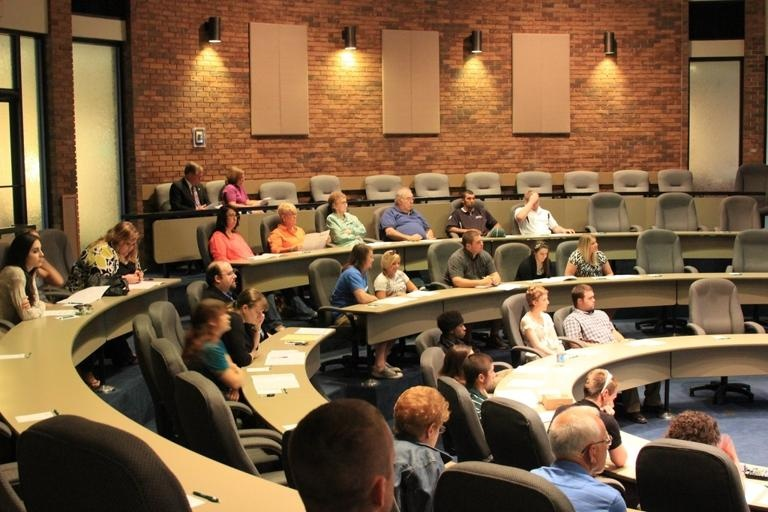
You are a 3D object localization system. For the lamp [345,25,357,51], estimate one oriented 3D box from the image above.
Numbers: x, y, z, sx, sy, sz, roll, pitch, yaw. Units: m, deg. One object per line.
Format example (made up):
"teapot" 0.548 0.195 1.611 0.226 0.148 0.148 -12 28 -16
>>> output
"lamp" -0.605 -4.032 12.200 0.260 0.413 0.236 -2 3 -20

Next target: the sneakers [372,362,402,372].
"sneakers" 0.028 1.176 6.999 0.310 0.092 0.115 12 6 21

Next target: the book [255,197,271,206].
"book" -1.812 -0.804 9.823 0.183 0.097 0.259 -3 7 -42

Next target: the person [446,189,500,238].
"person" 1.377 -0.615 10.212 0.867 0.874 0.747 -2 -7 -23

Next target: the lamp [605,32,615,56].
"lamp" 4.592 -4.326 13.504 0.170 0.444 0.305 1 3 38

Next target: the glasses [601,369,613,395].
"glasses" 1.567 0.882 4.678 0.055 0.127 0.096 8 -6 -28

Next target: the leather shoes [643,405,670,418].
"leather shoes" 2.715 1.550 6.621 0.238 0.174 0.088 -1 1 10

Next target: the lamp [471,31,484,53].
"lamp" 1.801 -4.189 12.966 0.218 0.384 0.333 0 2 9

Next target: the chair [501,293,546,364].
"chair" 1.503 0.734 6.636 0.565 0.711 0.463 1 4 39

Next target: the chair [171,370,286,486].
"chair" -0.870 0.995 3.741 0.568 0.744 0.700 -1 2 -2

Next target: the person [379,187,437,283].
"person" 0.373 -0.300 9.940 0.800 1.436 0.791 -3 3 -36

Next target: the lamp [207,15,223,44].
"lamp" -2.845 -3.799 11.111 0.204 0.407 0.304 -1 2 -15

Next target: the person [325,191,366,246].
"person" -0.566 -0.472 9.403 0.507 0.841 0.573 2 8 34

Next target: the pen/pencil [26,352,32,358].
"pen/pencil" -2.417 0.675 4.511 0.023 0.032 0.026 2 -9 -25

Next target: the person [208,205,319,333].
"person" -1.413 0.135 7.917 1.334 1.564 1.095 2 9 40

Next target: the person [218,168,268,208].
"person" -2.129 -0.968 10.118 0.705 0.721 0.522 1 10 2

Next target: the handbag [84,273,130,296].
"handbag" -2.595 0.270 6.372 0.215 0.131 0.284 3 -9 6

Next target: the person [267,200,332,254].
"person" -1.191 -0.369 8.584 0.731 0.835 0.607 -1 1 41

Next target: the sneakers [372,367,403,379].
"sneakers" 0.017 1.200 6.830 0.241 0.084 0.129 -1 -2 6

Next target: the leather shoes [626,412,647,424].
"leather shoes" 2.441 1.581 6.471 0.217 0.093 0.079 -7 -3 43
